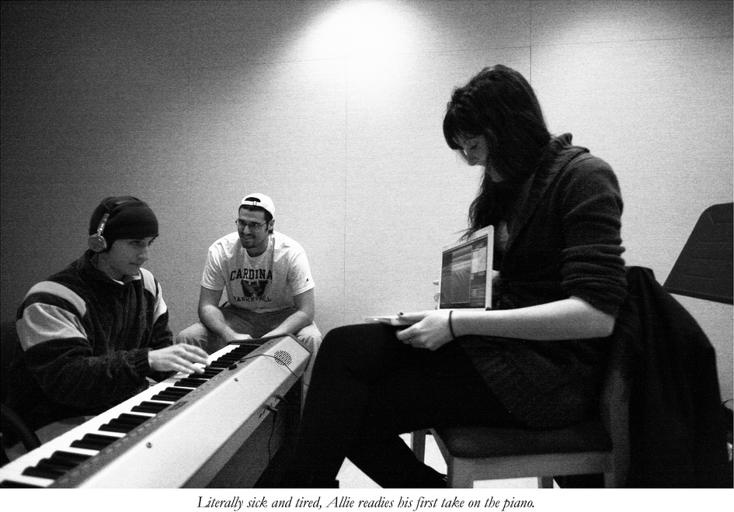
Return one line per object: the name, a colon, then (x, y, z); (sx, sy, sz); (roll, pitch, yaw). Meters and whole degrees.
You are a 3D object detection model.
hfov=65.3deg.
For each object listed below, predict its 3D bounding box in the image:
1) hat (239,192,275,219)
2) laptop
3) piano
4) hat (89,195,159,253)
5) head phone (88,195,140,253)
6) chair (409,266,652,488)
hat: (-0.441, -0.196, 2.284); (0.123, 0.108, 0.100); (1, 12, 24)
laptop: (0.217, 0.053, 1.797); (0.325, 0.270, 0.404); (1, -4, -6)
piano: (-0.636, 0.445, 1.660); (0.320, 0.187, 0.598); (15, 7, 11)
hat: (-0.775, -0.101, 1.915); (0.211, 0.173, 0.191); (4, 2, 9)
head phone: (-0.814, -0.097, 1.854); (0.080, 0.171, 0.196); (10, -6, 1)
chair: (0.399, 0.427, 1.800); (0.645, 0.801, 0.579); (5, -9, -21)
